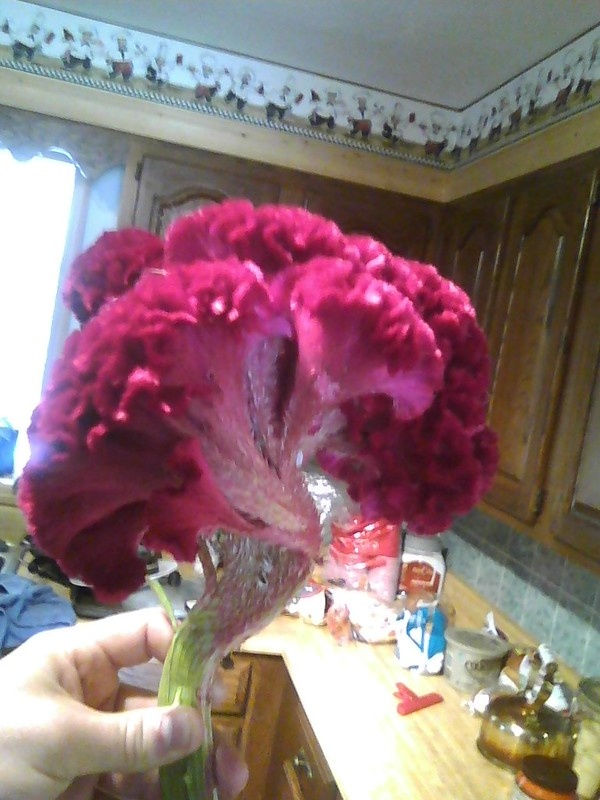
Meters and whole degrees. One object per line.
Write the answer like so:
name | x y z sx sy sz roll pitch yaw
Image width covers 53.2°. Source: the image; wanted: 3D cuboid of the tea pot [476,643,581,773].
tea pot | 0.393 0.527 1.013 0.186 0.169 0.176 10 -22 4

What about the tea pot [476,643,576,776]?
tea pot | 0.381 0.476 1.004 0.105 0.107 0.107 37 -11 9

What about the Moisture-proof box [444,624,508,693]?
Moisture-proof box | 0.348 0.511 1.199 0.116 0.079 0.112 10 -2 5

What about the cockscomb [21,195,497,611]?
cockscomb | -0.007 0.006 0.340 0.272 0.228 0.086 5 6 -14
